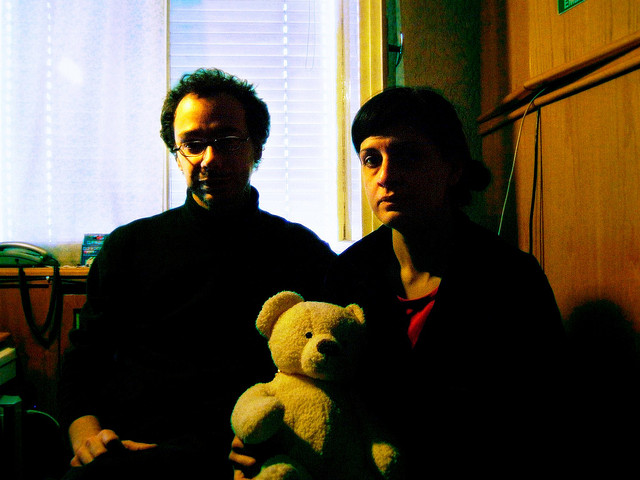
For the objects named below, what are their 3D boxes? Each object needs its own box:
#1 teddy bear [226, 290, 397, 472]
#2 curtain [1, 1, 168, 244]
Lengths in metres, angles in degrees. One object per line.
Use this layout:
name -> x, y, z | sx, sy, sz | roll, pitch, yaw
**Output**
teddy bear -> 0.049, 0.419, 2.122 | 0.520, 0.642, 0.428 | 6, -14, -14
curtain -> -1.126, -0.514, 3.078 | 1.053, 1.486, 0.061 | 1, 3, -1
